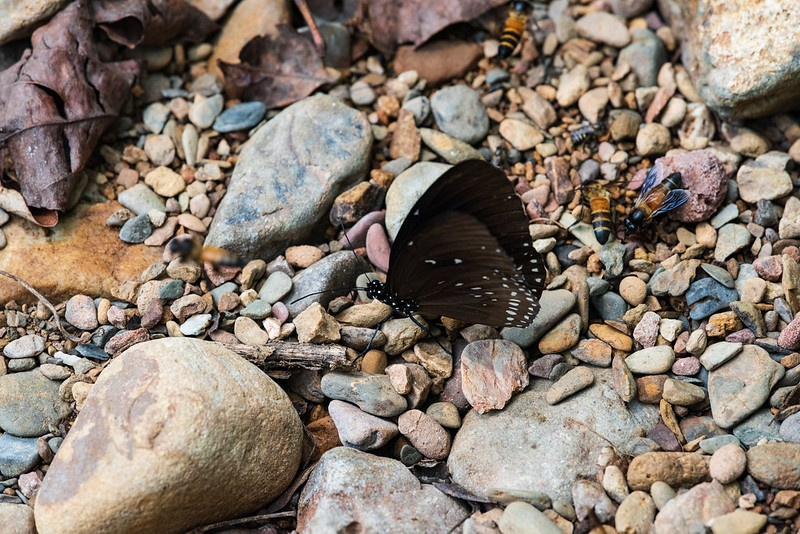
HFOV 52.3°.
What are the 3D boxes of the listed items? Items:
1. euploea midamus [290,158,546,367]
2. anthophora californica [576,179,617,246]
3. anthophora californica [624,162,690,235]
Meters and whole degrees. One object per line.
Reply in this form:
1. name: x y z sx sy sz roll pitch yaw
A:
1. euploea midamus: 0.455 -0.149 5.338 1.085 0.675 0.897 11 71 4
2. anthophora californica: 1.465 -0.410 5.900 0.250 0.205 0.511 -14 72 -5
3. anthophora californica: 1.823 -0.481 5.817 0.356 0.152 0.508 45 105 23
